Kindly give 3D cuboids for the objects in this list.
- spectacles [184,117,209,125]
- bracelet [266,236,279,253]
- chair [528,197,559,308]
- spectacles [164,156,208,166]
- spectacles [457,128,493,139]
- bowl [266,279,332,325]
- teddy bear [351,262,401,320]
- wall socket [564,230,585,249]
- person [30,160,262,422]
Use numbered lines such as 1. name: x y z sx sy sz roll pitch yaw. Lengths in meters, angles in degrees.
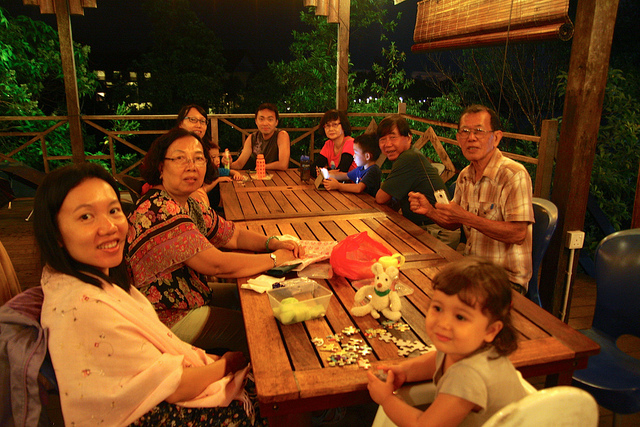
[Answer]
1. spectacles: -1.276 -0.974 4.633 0.226 0.083 0.097 -16 16 -43
2. bracelet: -0.302 0.198 2.868 0.099 0.102 0.027 -1 1 20
3. chair: 1.439 0.241 2.872 0.157 0.655 0.316 1 13 27
4. spectacles: -0.795 -0.315 2.659 0.233 0.074 0.079 -11 13 -28
5. spectacles: 1.036 -0.541 2.962 0.214 0.079 0.059 -1 12 18
6. bowl: -0.107 0.430 2.190 0.249 0.107 0.199 -7 20 -23
7. teddy bear: 0.286 0.392 2.227 0.202 0.224 0.135 12 18 28
8. wall socket: 1.752 0.173 3.075 0.120 0.120 0.044 -2 10 -2
9. person: -0.706 0.256 2.578 1.251 1.586 0.953 -3 10 -19
